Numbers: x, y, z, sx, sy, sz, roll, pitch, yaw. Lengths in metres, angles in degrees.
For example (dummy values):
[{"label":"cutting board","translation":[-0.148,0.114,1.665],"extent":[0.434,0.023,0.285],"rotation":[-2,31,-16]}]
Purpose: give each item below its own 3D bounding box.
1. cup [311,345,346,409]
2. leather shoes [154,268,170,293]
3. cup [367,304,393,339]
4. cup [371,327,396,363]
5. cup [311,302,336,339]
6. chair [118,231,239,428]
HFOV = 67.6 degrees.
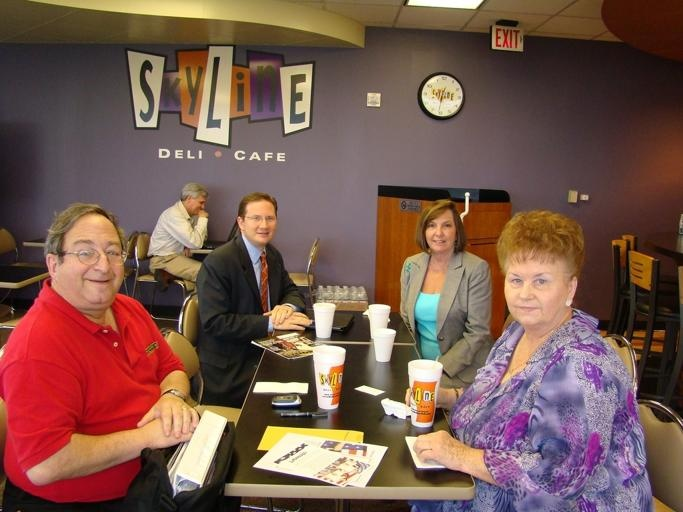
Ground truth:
[{"label":"cup","translation":[-0.040,0.450,1.903],"extent":[0.164,0.294,0.179],"rotation":[1,-1,0]},{"label":"leather shoes","translation":[-1.893,0.261,5.372],"extent":[0.112,0.279,0.111],"rotation":[-9,-10,13]},{"label":"cup","translation":[0.191,0.330,2.546],"extent":[0.138,0.184,0.146],"rotation":[2,-4,0]},{"label":"cup","translation":[0.188,0.392,2.256],"extent":[0.118,0.149,0.130],"rotation":[1,1,0]},{"label":"cup","translation":[-0.112,0.339,2.646],"extent":[0.143,0.181,0.147],"rotation":[0,-1,0]},{"label":"chair","translation":[-0.655,0.405,2.845],"extent":[0.554,1.062,0.572],"rotation":[1,9,17]}]
